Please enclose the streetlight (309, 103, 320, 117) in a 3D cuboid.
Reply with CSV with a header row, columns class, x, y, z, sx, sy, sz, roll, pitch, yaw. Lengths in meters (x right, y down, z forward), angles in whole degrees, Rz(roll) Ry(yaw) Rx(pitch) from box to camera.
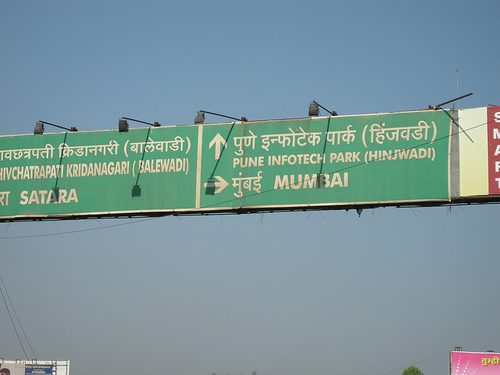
class,x,y,z,sx,sy,sz,roll,pitch,yaw
streetlight,2.191,-2.712,42.822,0.292,0.435,0.308,-2,-20,12
